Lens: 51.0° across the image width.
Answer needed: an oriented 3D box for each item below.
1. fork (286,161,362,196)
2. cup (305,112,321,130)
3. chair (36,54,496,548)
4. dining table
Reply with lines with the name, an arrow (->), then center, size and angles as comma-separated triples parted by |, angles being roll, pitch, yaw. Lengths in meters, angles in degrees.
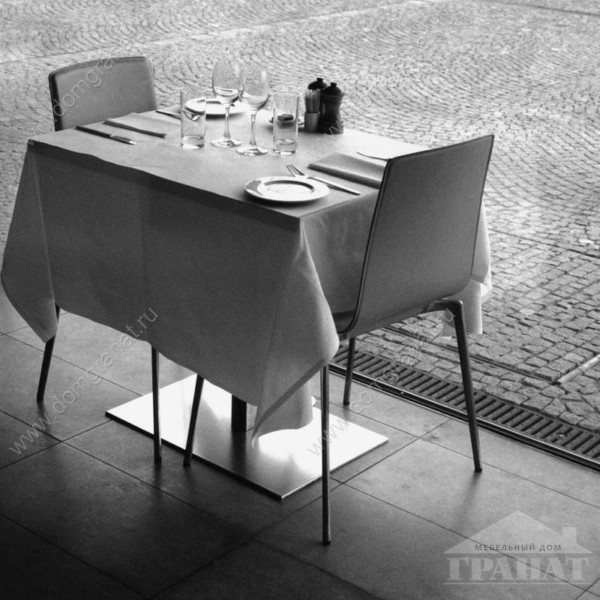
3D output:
fork -> 0.063, -0.309, 1.611 | 0.275, 0.030, 0.034 | 28, 38, 32
cup -> 0.039, -0.581, 2.054 | 0.035, 0.049, 0.054 | 1, 27, 1
chair -> -0.133, 0.065, 1.822 | 1.334, 1.029, 0.783 | 22, 31, 38
dining table -> -0.181, -0.116, 2.349 | 1.435, 1.394, 1.096 | 19, 25, 37
